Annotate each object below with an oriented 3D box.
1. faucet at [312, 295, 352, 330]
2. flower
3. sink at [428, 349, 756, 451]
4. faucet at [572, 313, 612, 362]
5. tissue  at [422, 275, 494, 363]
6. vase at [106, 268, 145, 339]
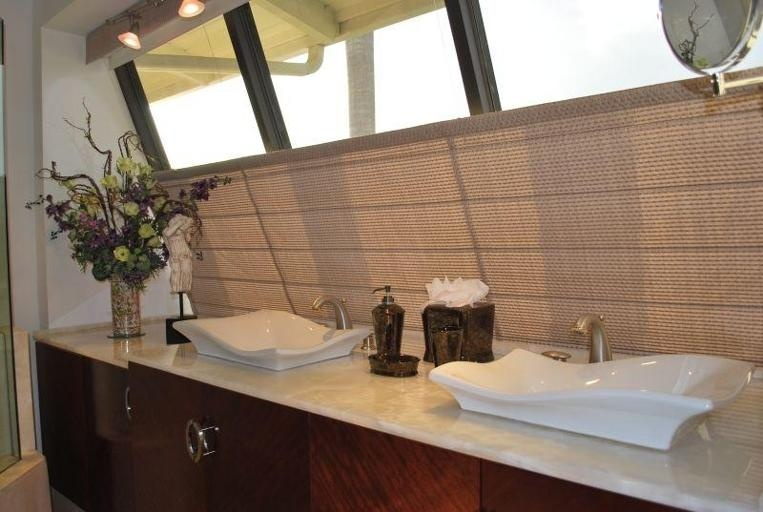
[{"bbox_3d":[-0.214,0.260,2.249,0.225,0.146,0.077,10,-18,-43],"label":"faucet"},{"bbox_3d":[-1.503,-0.190,2.981,1.278,0.914,0.663,7,13,-14],"label":"flower"},{"bbox_3d":[0.608,0.396,1.453,0.603,0.115,0.416,-2,-2,31],"label":"sink"},{"bbox_3d":[0.735,0.284,1.746,0.081,0.150,0.227,-5,-17,36],"label":"faucet"},{"bbox_3d":[0.309,0.279,2.048,0.302,0.277,0.292,1,3,2],"label":"tissue "},{"bbox_3d":[-1.489,0.296,2.920,0.210,0.349,0.168,-13,6,-18],"label":"vase"}]
